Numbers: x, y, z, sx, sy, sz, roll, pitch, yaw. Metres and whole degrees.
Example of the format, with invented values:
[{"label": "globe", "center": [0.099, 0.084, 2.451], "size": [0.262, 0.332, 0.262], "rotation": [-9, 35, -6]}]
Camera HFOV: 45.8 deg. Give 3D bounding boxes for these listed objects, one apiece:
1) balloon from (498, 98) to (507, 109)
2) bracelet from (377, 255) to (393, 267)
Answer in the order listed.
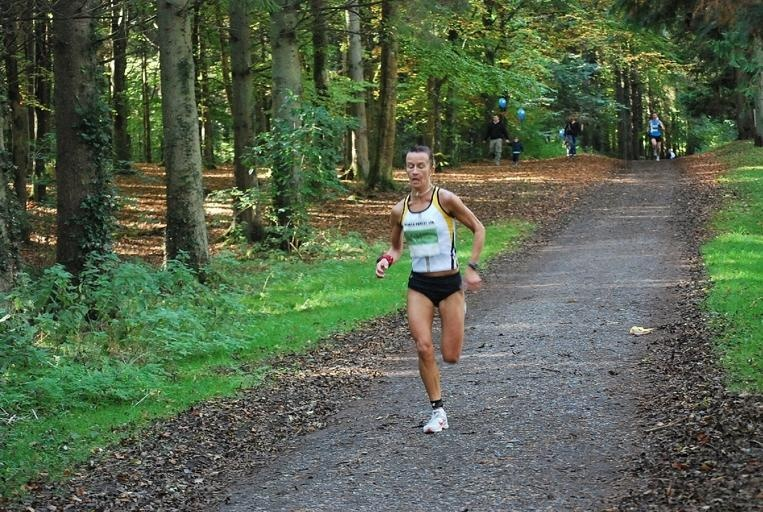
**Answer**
[{"label": "balloon", "center": [4.587, -5.770, 34.080], "size": [0.502, 0.401, 0.464], "rotation": [-1, 5, 3]}, {"label": "bracelet", "center": [0.062, 0.058, 12.541], "size": [0.197, 0.110, 0.243], "rotation": [9, 3, 26]}]
